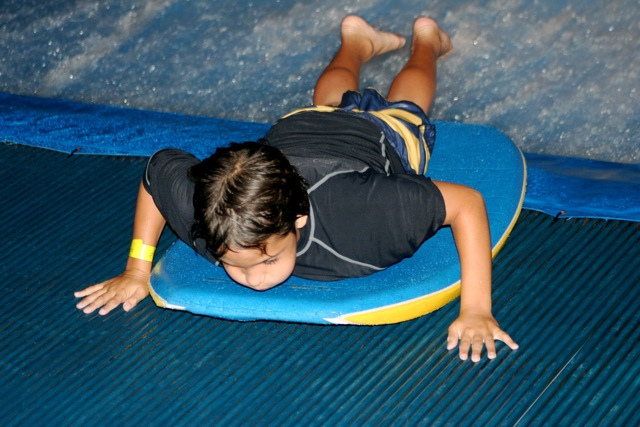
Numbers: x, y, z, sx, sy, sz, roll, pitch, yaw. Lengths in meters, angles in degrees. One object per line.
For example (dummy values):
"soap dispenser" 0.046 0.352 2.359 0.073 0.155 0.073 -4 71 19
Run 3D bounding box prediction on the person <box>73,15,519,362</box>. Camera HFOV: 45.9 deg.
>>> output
"person" 0.030 -0.186 2.586 1.388 0.644 1.256 11 50 6

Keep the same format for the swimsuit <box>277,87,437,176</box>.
"swimsuit" 0.142 -0.249 2.578 0.377 0.167 0.477 23 20 35
